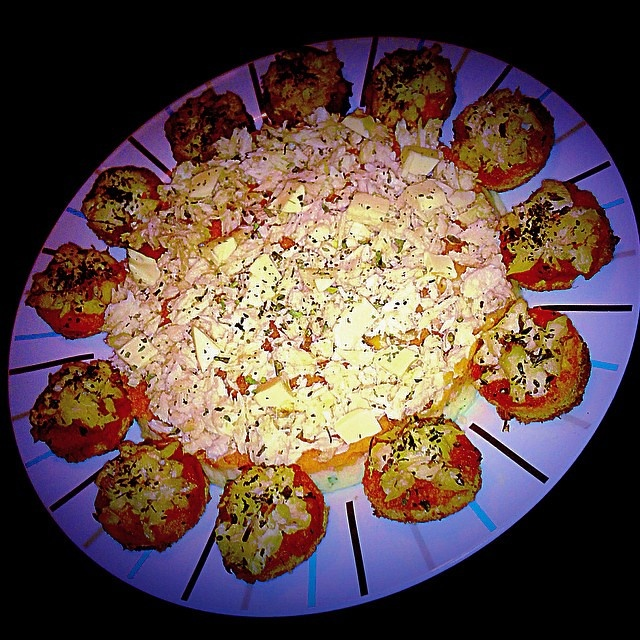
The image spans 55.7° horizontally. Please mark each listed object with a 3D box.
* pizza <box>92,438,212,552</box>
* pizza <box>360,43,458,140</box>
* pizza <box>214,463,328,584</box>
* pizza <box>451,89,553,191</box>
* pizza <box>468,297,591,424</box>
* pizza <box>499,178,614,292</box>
[{"bbox_3d":[-0.345,0.362,1.244,0.230,0.031,0.212,2,86,0],"label":"pizza"},{"bbox_3d":[0.197,-0.487,1.291,0.220,0.206,0.057,-3,56,-37],"label":"pizza"},{"bbox_3d":[-0.098,0.410,1.220,0.224,0.037,0.218,-1,86,0],"label":"pizza"},{"bbox_3d":[0.377,-0.370,1.233,0.183,0.056,0.194,-42,87,-2],"label":"pizza"},{"bbox_3d":[0.427,0.096,1.217,0.213,0.066,0.242,25,87,1],"label":"pizza"},{"bbox_3d":[0.473,-0.163,1.212,0.214,0.062,0.201,-44,88,-3],"label":"pizza"}]
